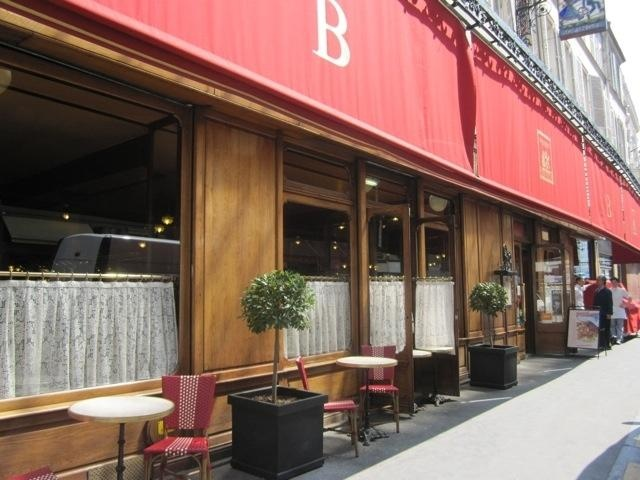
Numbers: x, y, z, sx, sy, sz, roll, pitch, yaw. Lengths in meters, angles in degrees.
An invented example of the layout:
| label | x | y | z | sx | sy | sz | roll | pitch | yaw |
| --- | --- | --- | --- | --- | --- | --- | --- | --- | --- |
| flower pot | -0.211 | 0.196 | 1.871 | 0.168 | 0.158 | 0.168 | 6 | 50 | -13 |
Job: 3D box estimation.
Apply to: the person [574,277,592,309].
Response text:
| label | x | y | z | sx | sy | sz | roll | pitch | yaw |
| --- | --- | --- | --- | --- | --- | --- | --- | --- | --- |
| person | 6.820 | 1.400 | 13.531 | 0.244 | 0.890 | 0.792 | -5 | -1 | 16 |

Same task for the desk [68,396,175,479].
| label | x | y | z | sx | sy | sz | roll | pitch | yaw |
| --- | --- | --- | --- | --- | --- | --- | --- | --- | --- |
| desk | -1.618 | 1.597 | 4.451 | 0.723 | 0.868 | 0.738 | 1 | -8 | 4 |

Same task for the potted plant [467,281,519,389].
| label | x | y | z | sx | sy | sz | roll | pitch | yaw |
| --- | --- | --- | --- | --- | --- | --- | --- | --- | --- |
| potted plant | 2.945 | 1.583 | 8.954 | 0.782 | 1.857 | 1.526 | -2 | -10 | 17 |
